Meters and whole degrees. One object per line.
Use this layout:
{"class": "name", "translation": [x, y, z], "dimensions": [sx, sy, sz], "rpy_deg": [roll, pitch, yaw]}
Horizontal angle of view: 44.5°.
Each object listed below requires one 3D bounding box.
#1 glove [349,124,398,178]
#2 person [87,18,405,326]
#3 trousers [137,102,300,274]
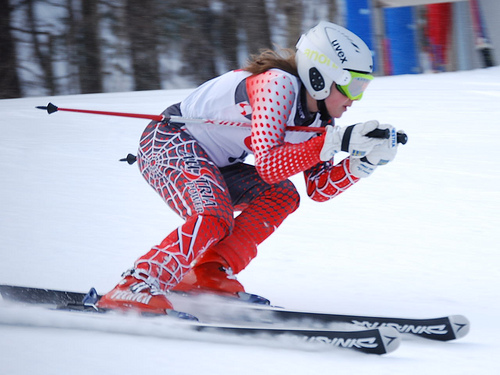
{"class": "glove", "translation": [0.471, -0.221, 3.143], "dimensions": [0.568, 0.143, 0.262], "rpy_deg": [4, -10, 3]}
{"class": "person", "translation": [-0.028, -0.117, 3.134], "dimensions": [1.371, 1.494, 0.713], "rpy_deg": [2, 6, -10]}
{"class": "trousers", "translation": [-0.161, 0.002, 3.205], "dimensions": [0.841, 0.887, 0.614], "rpy_deg": [2, 5, -10]}
